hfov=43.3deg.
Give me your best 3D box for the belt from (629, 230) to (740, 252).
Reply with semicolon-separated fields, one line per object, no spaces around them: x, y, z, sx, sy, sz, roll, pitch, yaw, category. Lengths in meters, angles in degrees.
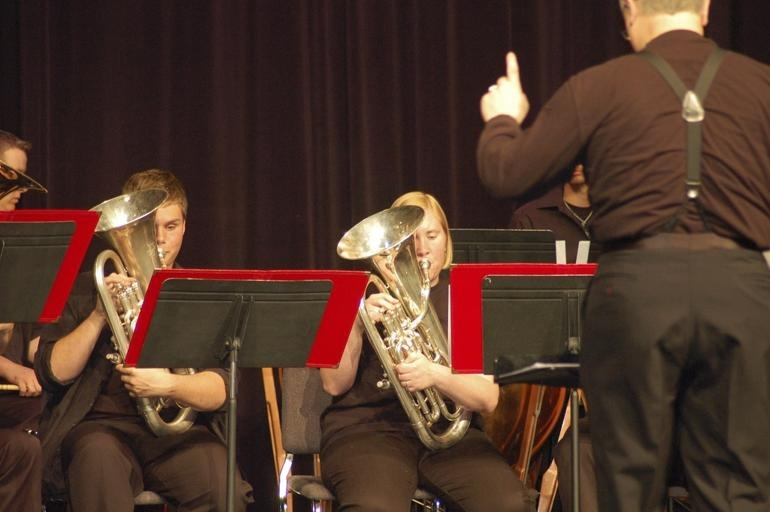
1.061;-0.054;3.423;0.369;0.063;0.040;1;-3;4;belt
